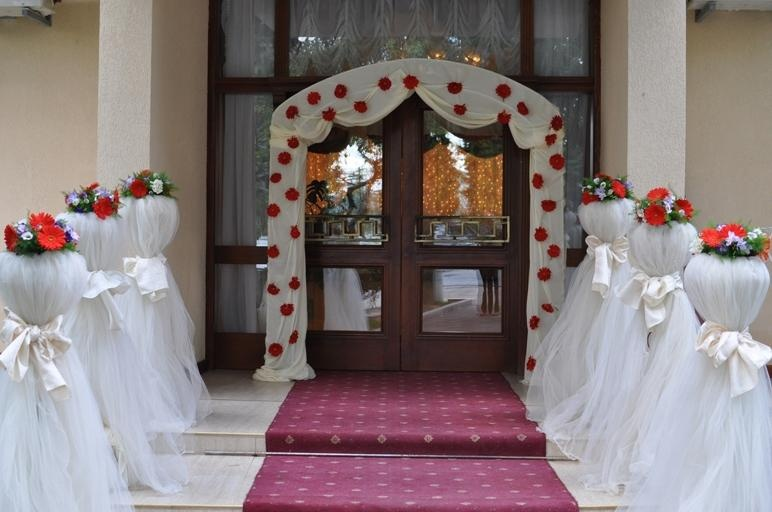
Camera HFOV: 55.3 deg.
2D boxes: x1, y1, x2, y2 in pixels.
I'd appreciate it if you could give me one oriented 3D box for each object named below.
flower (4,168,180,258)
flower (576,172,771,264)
[{"bbox_3d":[-2.166,-0.339,5.359,0.502,0.582,1.344,0,4,21],"label":"flower"},{"bbox_3d":[1.995,-0.316,5.923,0.462,0.692,0.848,-4,5,-24],"label":"flower"}]
